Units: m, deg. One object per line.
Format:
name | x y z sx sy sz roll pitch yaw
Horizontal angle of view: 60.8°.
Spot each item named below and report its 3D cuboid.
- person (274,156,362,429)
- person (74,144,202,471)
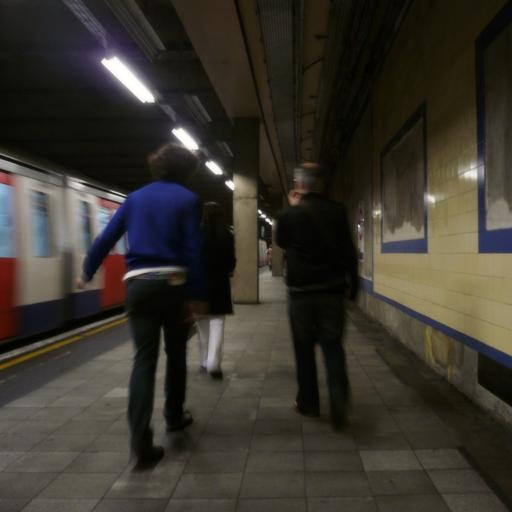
person | 0.437 0.269 3.182 0.593 1.946 0.378 0 1 15
person | -0.688 0.251 2.822 0.687 2.025 0.486 -1 1 -26
